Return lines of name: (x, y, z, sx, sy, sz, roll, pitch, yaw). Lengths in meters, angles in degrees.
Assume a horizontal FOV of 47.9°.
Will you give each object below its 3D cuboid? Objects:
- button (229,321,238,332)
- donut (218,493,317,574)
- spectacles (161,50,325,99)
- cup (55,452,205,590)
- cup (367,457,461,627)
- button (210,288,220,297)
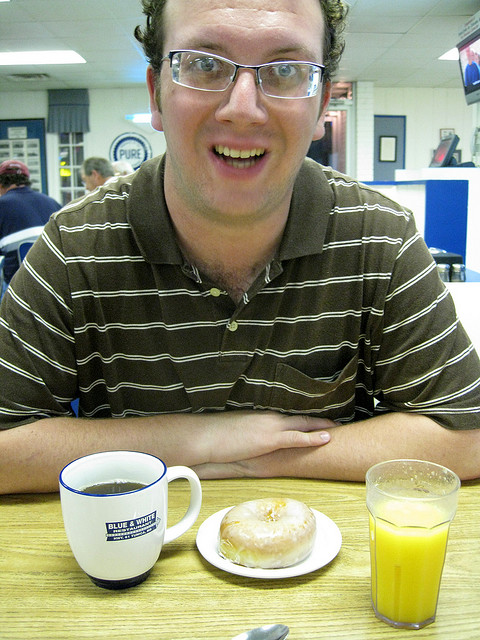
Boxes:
button: (-0.012, 0.011, 1.072, 0.018, 0.016, 0.004, -7, 33, -24)
donut: (0.035, 0.267, 0.690, 0.116, 0.048, 0.129, 7, 11, 44)
spectacles: (0.012, -0.418, 0.916, 0.260, 0.088, 0.066, -1, 5, -5)
cup: (-0.121, 0.227, 0.627, 0.165, 0.113, 0.122, -3, 7, -15)
cup: (0.199, 0.235, 0.631, 0.096, 0.139, 0.179, 1, 5, 17)
button: (-0.049, -0.055, 1.050, 0.018, 0.016, 0.006, -1, 5, -7)
